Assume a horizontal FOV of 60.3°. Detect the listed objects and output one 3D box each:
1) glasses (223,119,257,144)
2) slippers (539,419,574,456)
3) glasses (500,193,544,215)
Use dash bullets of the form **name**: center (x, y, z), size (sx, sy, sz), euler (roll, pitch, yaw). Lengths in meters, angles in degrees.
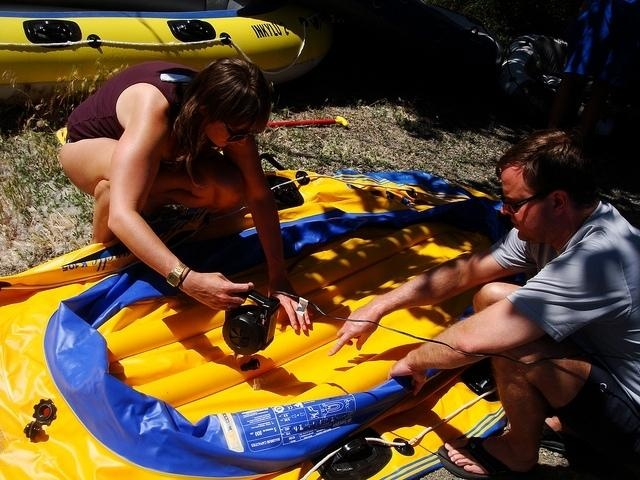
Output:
- **glasses**: center (-0.354, -0.460, 2.347), size (0.096, 0.027, 0.085), euler (-4, 43, -41)
- **slippers**: center (1.051, 0.877, 2.465), size (0.176, 0.125, 0.047), euler (4, -10, 18)
- **glasses**: center (0.827, -0.158, 2.265), size (0.112, 0.025, 0.093), euler (-17, 9, -5)
